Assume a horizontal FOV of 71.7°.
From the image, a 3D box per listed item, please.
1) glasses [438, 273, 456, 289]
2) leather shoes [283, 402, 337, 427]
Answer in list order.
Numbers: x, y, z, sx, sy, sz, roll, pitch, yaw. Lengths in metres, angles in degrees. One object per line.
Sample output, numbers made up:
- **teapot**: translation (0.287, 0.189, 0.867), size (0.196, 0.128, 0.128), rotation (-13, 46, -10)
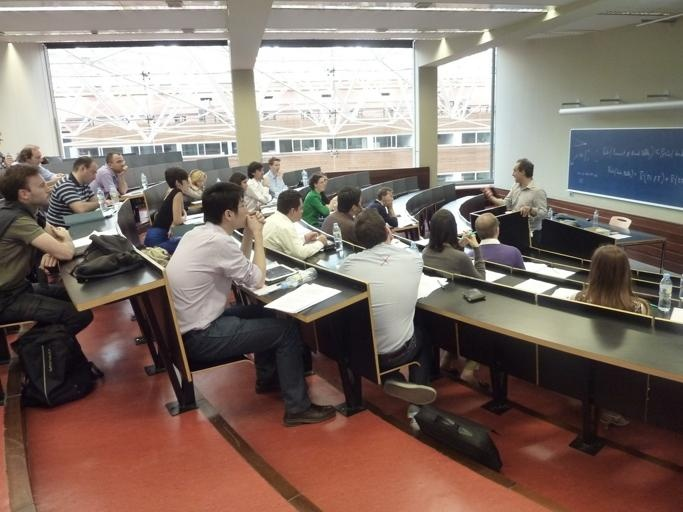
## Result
- **glasses**: translation (0.828, 0.199, 3.737), size (0.092, 0.033, 0.131), rotation (-27, 25, -13)
- **leather shoes**: translation (-0.211, 1.057, 3.180), size (0.337, 0.145, 0.132), rotation (-8, 7, -11)
